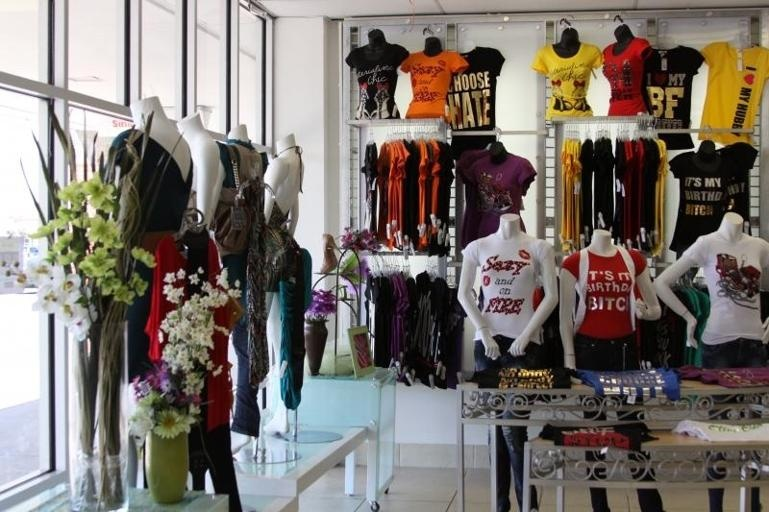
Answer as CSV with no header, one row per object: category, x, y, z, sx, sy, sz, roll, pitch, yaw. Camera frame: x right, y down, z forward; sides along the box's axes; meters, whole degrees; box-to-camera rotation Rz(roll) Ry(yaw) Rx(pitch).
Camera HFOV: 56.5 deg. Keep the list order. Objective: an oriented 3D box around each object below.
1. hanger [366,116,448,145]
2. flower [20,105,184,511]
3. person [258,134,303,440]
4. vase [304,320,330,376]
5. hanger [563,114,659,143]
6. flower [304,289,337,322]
hanger,0.185,-1.111,6.471,0.773,0.199,0.507,-2,3,7
flower,-1.453,0.261,3.669,0.669,1.373,0.758,-3,2,-17
person,-0.746,0.225,5.148,0.335,2.184,0.803,-2,2,-10
vase,-0.541,0.696,5.587,0.166,0.452,0.237,-2,2,-5
hanger,1.951,-1.085,6.195,0.778,0.202,0.586,-1,3,22
flower,-0.493,0.348,5.492,0.219,0.237,0.229,-2,8,-22
